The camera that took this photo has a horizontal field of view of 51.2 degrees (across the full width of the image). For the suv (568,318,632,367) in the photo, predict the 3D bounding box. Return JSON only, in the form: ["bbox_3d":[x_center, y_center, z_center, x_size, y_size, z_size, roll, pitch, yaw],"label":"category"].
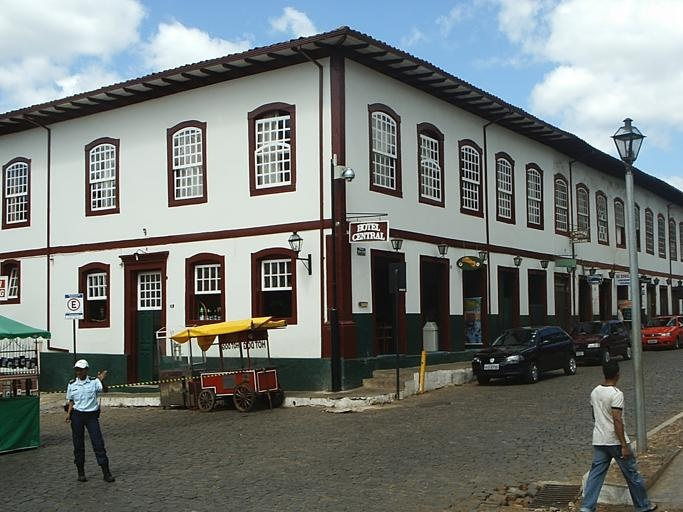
[{"bbox_3d":[10.180,3.305,27.893,1.750,1.409,2.941,-7,-11,37],"label":"suv"}]

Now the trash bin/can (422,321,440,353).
[{"bbox_3d":[3.113,2.800,24.763,0.515,0.993,0.838,-2,-2,6],"label":"trash bin/can"}]

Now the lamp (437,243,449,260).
[{"bbox_3d":[3.631,-0.187,24.966,0.413,0.596,0.466,1,-2,33],"label":"lamp"}]

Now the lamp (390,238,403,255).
[{"bbox_3d":[1.781,-0.312,22.869,0.426,0.482,0.424,7,-11,-20],"label":"lamp"}]

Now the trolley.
[{"bbox_3d":[-2.871,3.095,19.629,2.950,2.367,1.721,-12,-9,44],"label":"trolley"}]

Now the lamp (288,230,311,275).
[{"bbox_3d":[-1.238,-0.080,21.265,0.665,1.275,0.543,-2,-2,-5],"label":"lamp"}]

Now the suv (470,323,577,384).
[{"bbox_3d":[5.899,3.155,22.790,3.698,1.132,1.471,0,-3,-43],"label":"suv"}]

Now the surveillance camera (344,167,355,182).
[{"bbox_3d":[0.222,-2.367,20.522,0.332,0.366,0.358,2,3,28],"label":"surveillance camera"}]
